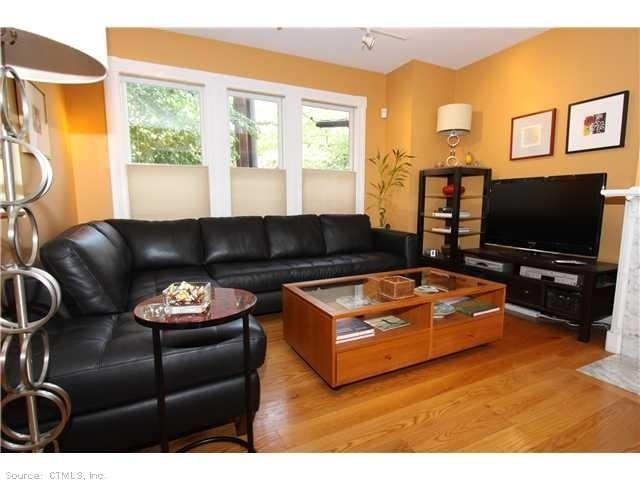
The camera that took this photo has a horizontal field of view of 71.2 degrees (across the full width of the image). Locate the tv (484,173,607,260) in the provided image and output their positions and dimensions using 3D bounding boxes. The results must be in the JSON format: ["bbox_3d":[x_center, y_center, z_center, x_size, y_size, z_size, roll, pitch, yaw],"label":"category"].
[{"bbox_3d":[2.006,-0.200,3.919,0.247,0.549,0.856,-4,8,-29],"label":"tv"}]

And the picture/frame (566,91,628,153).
[{"bbox_3d":[2.367,-1.004,3.792,0.051,0.578,0.657,0,3,-25],"label":"picture/frame"}]

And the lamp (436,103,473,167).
[{"bbox_3d":[1.475,-1.155,4.963,0.388,0.642,0.566,3,11,17],"label":"lamp"}]
